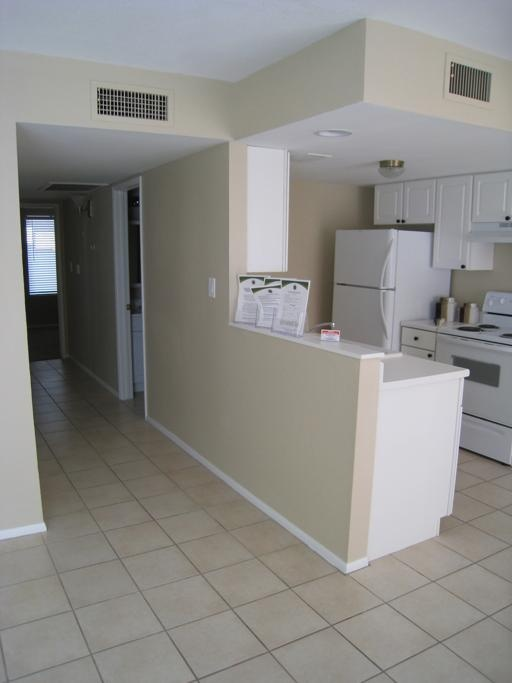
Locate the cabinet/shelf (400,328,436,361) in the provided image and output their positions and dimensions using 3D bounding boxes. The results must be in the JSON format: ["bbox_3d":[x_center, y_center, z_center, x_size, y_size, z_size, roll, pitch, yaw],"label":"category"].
[{"bbox_3d":[1.328,0.007,4.024,0.195,0.304,0.285,0,7,-20],"label":"cabinet/shelf"}]
